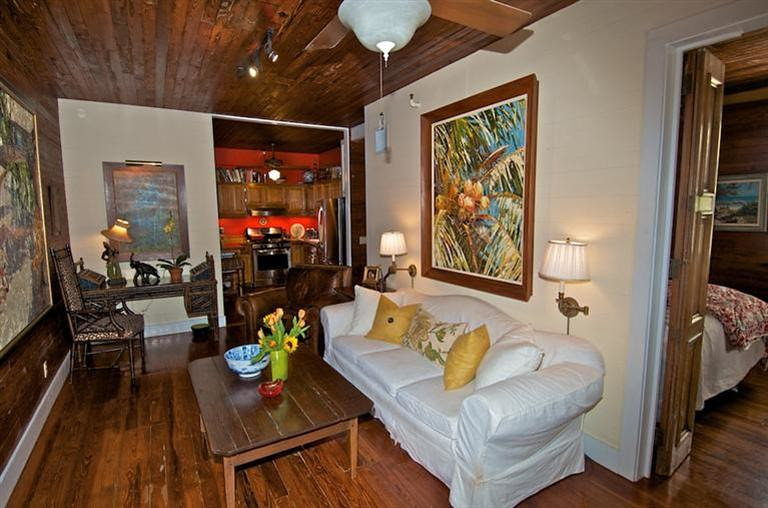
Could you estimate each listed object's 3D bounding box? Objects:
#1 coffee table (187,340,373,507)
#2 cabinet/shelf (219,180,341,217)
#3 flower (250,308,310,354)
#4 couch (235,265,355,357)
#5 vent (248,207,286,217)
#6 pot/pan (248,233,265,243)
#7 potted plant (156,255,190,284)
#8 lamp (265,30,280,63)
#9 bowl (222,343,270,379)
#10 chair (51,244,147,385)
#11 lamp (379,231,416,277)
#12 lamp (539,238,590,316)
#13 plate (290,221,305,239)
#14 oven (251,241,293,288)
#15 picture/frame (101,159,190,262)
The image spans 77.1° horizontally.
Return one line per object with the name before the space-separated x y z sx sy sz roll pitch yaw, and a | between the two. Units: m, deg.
coffee table | -0.944 1.321 4.205 1.128 0.693 1.397 -7 16 -28
cabinet/shelf | -2.439 -1.150 10.110 1.962 0.713 0.360 -5 7 -21
flower | -1.070 0.806 4.961 0.487 0.494 0.499 6 5 15
couch | -1.062 0.710 6.130 1.259 1.019 0.919 2 11 21
vent | -2.412 -0.902 10.063 0.760 0.196 0.225 -8 8 -43
pot/pan | -2.681 -0.383 10.135 0.286 0.301 0.321 1 2 37
potted plant | -2.934 0.193 6.662 0.410 0.336 0.392 -2 6 -6
lamp | -1.125 -2.047 4.793 0.126 0.265 0.368 -4 6 -12
bowl | -1.300 1.000 4.561 0.338 0.158 0.333 0 -1 0
chair | -3.366 0.718 5.750 0.963 1.410 1.055 11 8 41
lamp | 0.197 0.020 5.912 0.404 0.575 0.473 -2 6 9
lamp | 1.631 0.230 4.362 0.455 0.737 0.416 -3 15 0
plate | -1.918 -0.522 10.744 0.232 0.331 0.321 2 8 36
oven | -2.393 0.107 10.228 0.805 0.990 0.688 -3 17 -16
picture/frame | -3.276 -0.558 6.710 1.049 1.420 0.054 -1 8 -7
